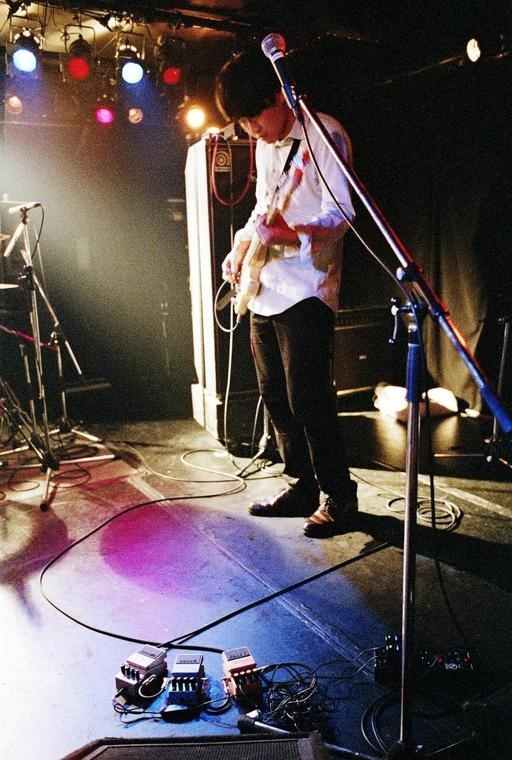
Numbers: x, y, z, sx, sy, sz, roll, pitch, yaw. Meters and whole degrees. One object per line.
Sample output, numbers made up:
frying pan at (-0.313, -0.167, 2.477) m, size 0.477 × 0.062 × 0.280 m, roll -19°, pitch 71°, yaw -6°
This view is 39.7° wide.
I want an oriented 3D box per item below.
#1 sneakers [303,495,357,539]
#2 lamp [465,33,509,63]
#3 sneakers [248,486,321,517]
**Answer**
sneakers at (0.316, 0.511, 2.661) m, size 0.098 × 0.118 × 0.277 m, roll 7°, pitch 5°, yaw 44°
lamp at (1.277, -1.841, 3.957) m, size 0.124 × 0.119 × 0.202 m, roll -33°, pitch 26°, yaw -11°
sneakers at (0.126, 0.477, 2.818) m, size 0.321 × 0.127 × 0.104 m, roll 1°, pitch 0°, yaw 1°
